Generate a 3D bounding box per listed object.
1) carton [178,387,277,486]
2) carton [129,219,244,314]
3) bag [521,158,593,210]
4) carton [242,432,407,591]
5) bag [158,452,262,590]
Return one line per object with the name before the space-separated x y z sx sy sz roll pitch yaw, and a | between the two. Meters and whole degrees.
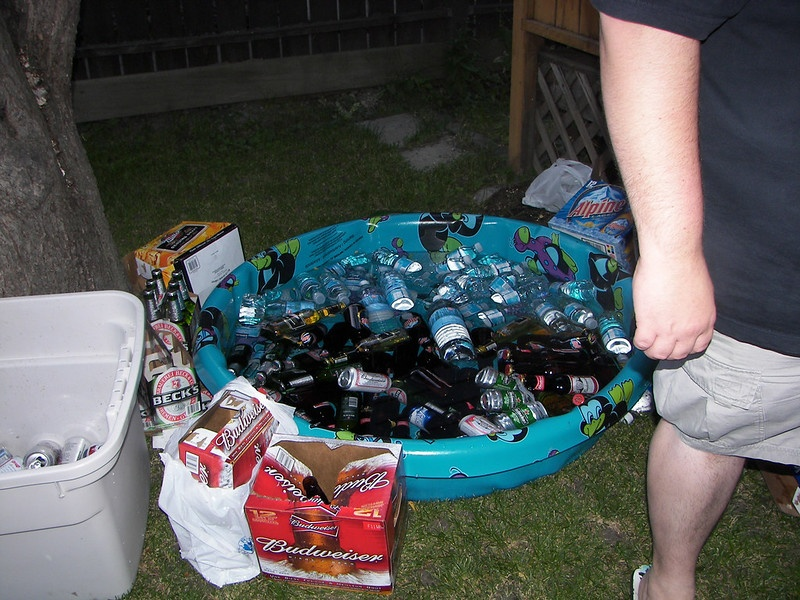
carton | -0.680 0.558 2.437 0.273 0.252 0.399 23 45 11
carton | -1.365 -0.213 4.020 0.331 0.672 0.675 31 46 -8
bag | 1.264 -0.918 4.896 0.412 0.174 0.500 35 87 38
carton | -0.281 0.805 2.406 0.680 0.510 0.496 4 30 3
bag | -0.750 0.884 2.535 0.335 0.491 0.393 0 7 7
